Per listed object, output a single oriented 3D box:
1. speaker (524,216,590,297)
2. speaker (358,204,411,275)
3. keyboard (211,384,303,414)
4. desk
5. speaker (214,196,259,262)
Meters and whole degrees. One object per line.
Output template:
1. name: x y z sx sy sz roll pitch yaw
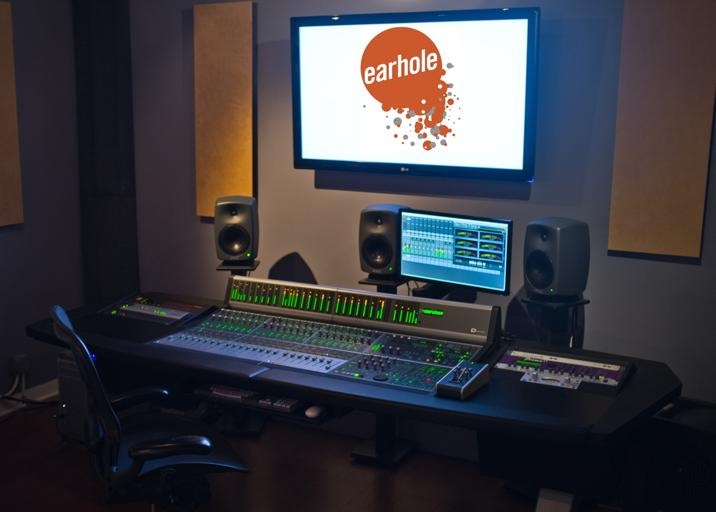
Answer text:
1. speaker: 0.994 -0.021 2.934 0.253 0.385 0.296 9 20 37
2. speaker: 0.122 -0.108 3.332 0.219 0.382 0.223 4 17 12
3. keyboard: -0.445 0.631 2.603 0.326 0.036 0.098 7 23 22
4. desk: 0.259 0.646 2.627 2.258 0.322 0.605 5 19 14
5. speaker: -0.714 -0.162 3.383 0.235 0.353 0.111 1 17 4
